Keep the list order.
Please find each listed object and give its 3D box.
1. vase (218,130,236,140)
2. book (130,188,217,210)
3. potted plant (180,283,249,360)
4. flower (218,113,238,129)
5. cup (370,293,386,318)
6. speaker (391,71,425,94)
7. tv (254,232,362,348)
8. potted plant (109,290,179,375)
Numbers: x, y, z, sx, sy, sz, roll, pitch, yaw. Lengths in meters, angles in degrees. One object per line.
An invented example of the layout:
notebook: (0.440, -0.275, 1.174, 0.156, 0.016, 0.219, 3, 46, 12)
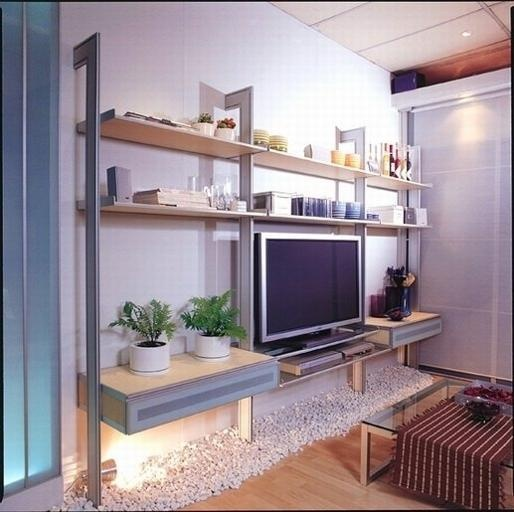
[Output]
vase: (-0.166, -0.676, 2.578, 0.081, 0.060, 0.074, 0, 2, -10)
book: (-0.427, -0.295, 2.322, 0.397, 0.090, 0.208, 2, 4, -17)
potted plant: (-0.188, 0.400, 2.523, 0.443, 0.330, 0.266, 11, -12, -36)
flower: (-0.182, -0.784, 2.693, 0.123, 0.076, 0.162, 6, 7, 1)
cup: (1.150, 0.463, 4.272, 0.114, 0.210, 0.219, 6, 5, 35)
speaker: (1.490, -1.730, 4.503, 0.317, 0.248, 0.204, 5, 4, 21)
tv: (0.325, 0.240, 3.109, 0.072, 0.543, 0.847, -1, -1, 40)
potted plant: (-0.577, 0.389, 2.333, 0.327, 0.335, 0.342, -5, 2, 7)
